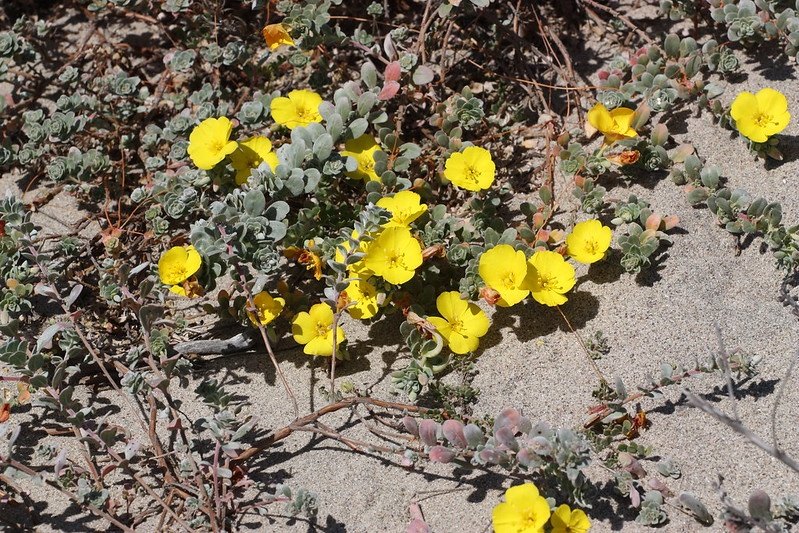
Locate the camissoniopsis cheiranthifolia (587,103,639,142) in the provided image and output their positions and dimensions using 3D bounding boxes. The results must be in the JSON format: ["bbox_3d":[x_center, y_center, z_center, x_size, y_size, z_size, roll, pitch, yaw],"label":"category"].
[{"bbox_3d":[1.166,-0.776,4.737,0.257,0.180,0.203,1,60,16],"label":"camissoniopsis cheiranthifolia"}]

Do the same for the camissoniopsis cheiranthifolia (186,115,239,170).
[{"bbox_3d":[-1.025,-0.670,4.687,0.273,0.137,0.279,10,82,21],"label":"camissoniopsis cheiranthifolia"}]

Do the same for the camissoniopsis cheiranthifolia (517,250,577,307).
[{"bbox_3d":[0.766,0.049,4.432,0.259,0.128,0.279,-36,86,6],"label":"camissoniopsis cheiranthifolia"}]

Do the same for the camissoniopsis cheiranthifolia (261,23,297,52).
[{"bbox_3d":[-0.684,-1.295,4.876,0.148,0.159,0.110,-25,56,0],"label":"camissoniopsis cheiranthifolia"}]

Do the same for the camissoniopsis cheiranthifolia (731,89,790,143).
[{"bbox_3d":[1.901,-0.807,4.545,0.281,0.114,0.257,-21,56,3],"label":"camissoniopsis cheiranthifolia"}]

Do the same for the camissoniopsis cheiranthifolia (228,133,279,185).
[{"bbox_3d":[-0.805,-0.589,4.753,0.258,0.143,0.227,-19,56,4],"label":"camissoniopsis cheiranthifolia"}]

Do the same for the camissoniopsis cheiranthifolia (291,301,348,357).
[{"bbox_3d":[-0.438,0.346,4.521,0.216,0.240,0.242,-5,58,12],"label":"camissoniopsis cheiranthifolia"}]

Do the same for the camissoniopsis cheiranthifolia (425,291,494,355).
[{"bbox_3d":[0.307,0.283,4.455,0.251,0.240,0.269,-42,58,-12],"label":"camissoniopsis cheiranthifolia"}]
